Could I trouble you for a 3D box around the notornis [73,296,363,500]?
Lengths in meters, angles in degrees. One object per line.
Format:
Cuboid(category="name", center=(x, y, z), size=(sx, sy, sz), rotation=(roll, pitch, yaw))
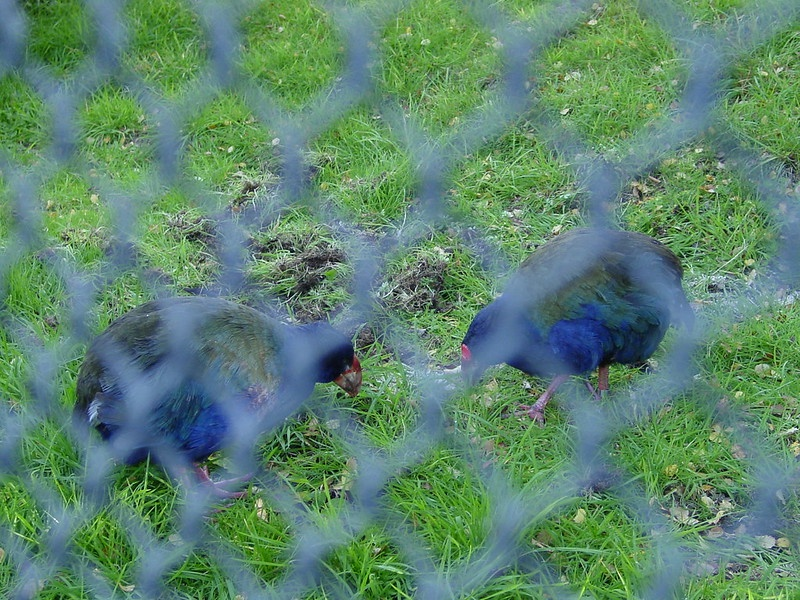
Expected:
Cuboid(category="notornis", center=(-0.909, 0.452, 4.114), size=(1.366, 0.927, 0.757), rotation=(9, 22, -3))
